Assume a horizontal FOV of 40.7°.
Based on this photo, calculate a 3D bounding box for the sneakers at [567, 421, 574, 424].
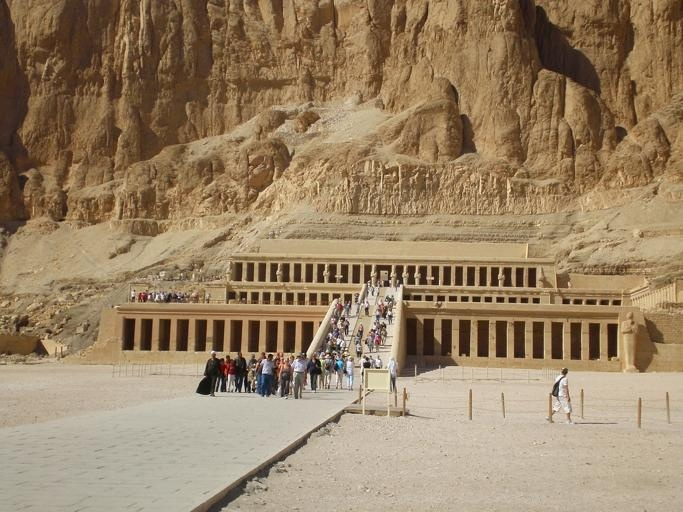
[{"bbox_3d":[9.148,6.677,36.815,0.118,0.192,0.272,6,-14,-43],"label":"sneakers"}]

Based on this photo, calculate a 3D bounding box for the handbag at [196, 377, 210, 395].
[{"bbox_3d":[-5.948,5.638,39.875,0.694,0.753,0.351,-11,8,-10],"label":"handbag"}]
